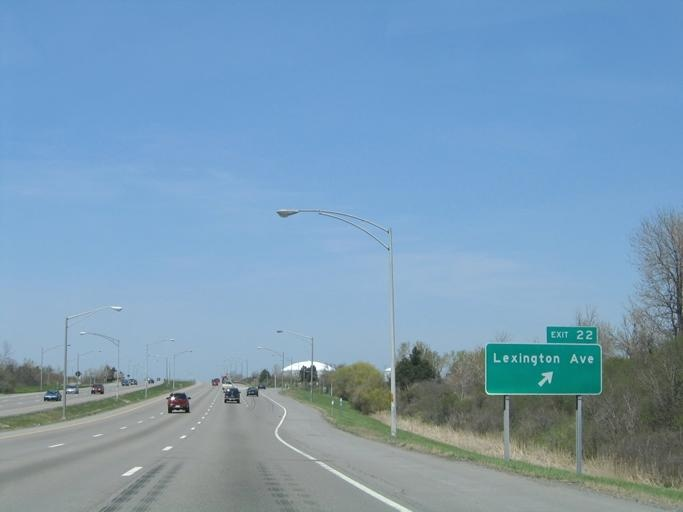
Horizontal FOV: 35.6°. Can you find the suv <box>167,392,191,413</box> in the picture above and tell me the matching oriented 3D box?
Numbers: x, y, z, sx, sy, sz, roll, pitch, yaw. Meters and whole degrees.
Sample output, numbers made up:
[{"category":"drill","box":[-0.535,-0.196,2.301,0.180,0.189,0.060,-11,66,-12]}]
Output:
[{"category":"suv","box":[-14.231,12.840,93.182,1.139,1.165,2.505,1,3,-9]}]

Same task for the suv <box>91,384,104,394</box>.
[{"category":"suv","box":[-30.569,16.695,133.745,1.008,0.964,1.985,1,-3,-9]}]
